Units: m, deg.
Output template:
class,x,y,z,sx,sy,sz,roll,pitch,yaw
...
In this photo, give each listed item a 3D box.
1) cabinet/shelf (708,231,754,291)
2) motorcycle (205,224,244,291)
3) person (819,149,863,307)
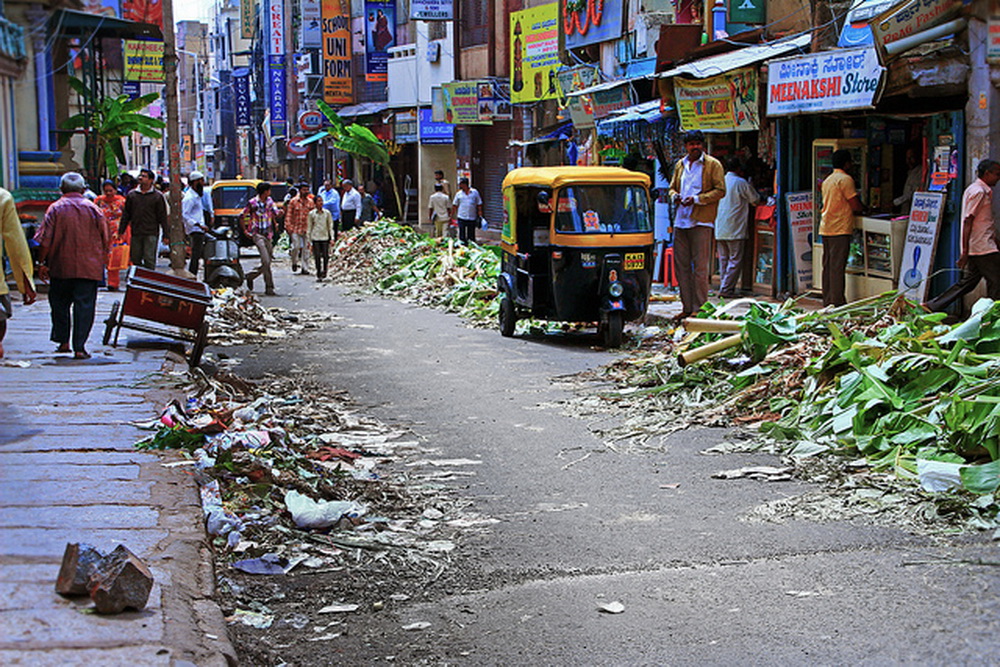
class,x,y,z,sx,sy,sz,roll,pitch,yaw
cabinet/shelf,4.489,-1.487,18.381,0.485,1.370,0.639,-9,15,-33
motorcycle,-5.904,-1.582,20.201,1.226,1.448,2.468,-1,7,-17
person,5.542,-1.689,15.256,0.729,2.517,0.829,-3,11,4
